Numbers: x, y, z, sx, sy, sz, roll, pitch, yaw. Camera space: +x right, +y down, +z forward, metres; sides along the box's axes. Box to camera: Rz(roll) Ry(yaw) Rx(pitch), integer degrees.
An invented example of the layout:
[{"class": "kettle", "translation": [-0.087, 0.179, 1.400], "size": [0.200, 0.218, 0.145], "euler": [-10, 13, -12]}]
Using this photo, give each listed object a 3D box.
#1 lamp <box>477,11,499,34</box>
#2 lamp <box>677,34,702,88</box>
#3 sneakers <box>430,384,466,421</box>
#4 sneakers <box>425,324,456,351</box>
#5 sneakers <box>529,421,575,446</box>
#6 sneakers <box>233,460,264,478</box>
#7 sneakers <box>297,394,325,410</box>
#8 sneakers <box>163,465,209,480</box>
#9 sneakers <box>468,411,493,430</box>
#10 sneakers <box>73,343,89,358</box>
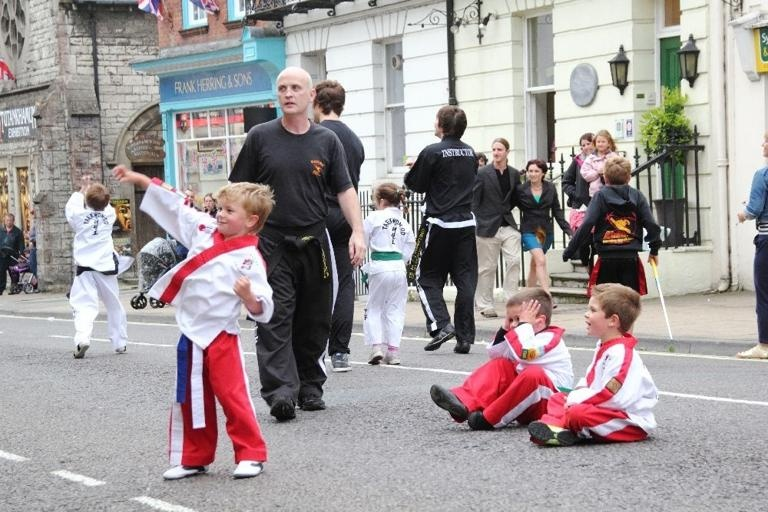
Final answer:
[{"class": "lamp", "translation": [2.083, -4.675, 19.656], "size": [0.176, 0.406, 0.407], "euler": [-9, 9, -42]}, {"class": "lamp", "translation": [5.087, -3.237, 16.252], "size": [0.356, 0.877, 0.248], "euler": [-2, 6, 5]}, {"class": "sneakers", "translation": [0.576, 1.304, 8.595], "size": [0.344, 0.118, 0.251], "euler": [41, -18, -4]}, {"class": "sneakers", "translation": [0.729, 1.033, 12.260], "size": [0.145, 0.418, 0.171], "euler": [46, 9, -43]}, {"class": "sneakers", "translation": [1.388, 1.489, 8.144], "size": [0.418, 0.163, 0.189], "euler": [17, -14, -13]}, {"class": "sneakers", "translation": [-1.031, 1.652, 7.550], "size": [0.108, 0.091, 0.249], "euler": [-8, -9, 38]}, {"class": "sneakers", "translation": [-0.683, 1.413, 9.425], "size": [0.260, 0.106, 0.124], "euler": [-9, 4, -21]}, {"class": "sneakers", "translation": [-1.557, 1.694, 7.694], "size": [0.340, 0.109, 0.119], "euler": [5, 1, -21]}, {"class": "sneakers", "translation": [0.836, 1.442, 8.546], "size": [0.210, 0.079, 0.147], "euler": [10, -2, -14]}, {"class": "sneakers", "translation": [-4.031, 1.255, 13.006], "size": [0.180, 0.203, 0.375], "euler": [-5, 7, -20]}]
